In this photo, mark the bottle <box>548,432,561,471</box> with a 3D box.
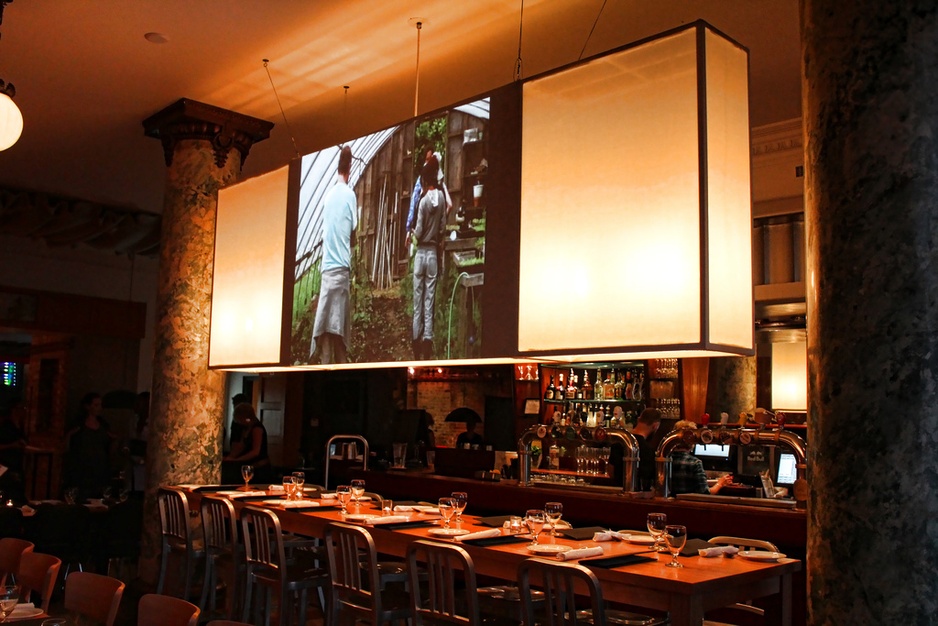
[{"bbox_3d":[1.068,1.754,9.697,0.150,0.335,0.316,-1,-7,7],"label":"bottle"}]

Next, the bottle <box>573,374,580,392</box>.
[{"bbox_3d":[1.352,0.868,9.983,0.106,0.203,0.107,1,-9,0],"label":"bottle"}]

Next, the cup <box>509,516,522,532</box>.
[{"bbox_3d":[0.284,1.332,4.945,0.063,0.075,0.065,1,-1,0],"label":"cup"}]

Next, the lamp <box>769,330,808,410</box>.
[{"bbox_3d":[3.329,0.597,8.160,0.341,0.838,0.423,-2,-7,21],"label":"lamp"}]

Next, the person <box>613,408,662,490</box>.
[{"bbox_3d":[1.457,1.172,6.823,0.545,0.850,0.193,4,31,4],"label":"person"}]

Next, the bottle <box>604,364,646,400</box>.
[{"bbox_3d":[1.898,0.839,9.459,0.415,0.401,0.143,-3,-7,43],"label":"bottle"}]

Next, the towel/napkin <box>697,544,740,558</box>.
[{"bbox_3d":[1.400,1.326,4.378,0.260,0.051,0.104,4,-8,-30],"label":"towel/napkin"}]

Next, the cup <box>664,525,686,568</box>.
[{"bbox_3d":[1.111,1.235,4.242,0.114,0.197,0.380,-1,-7,13],"label":"cup"}]
